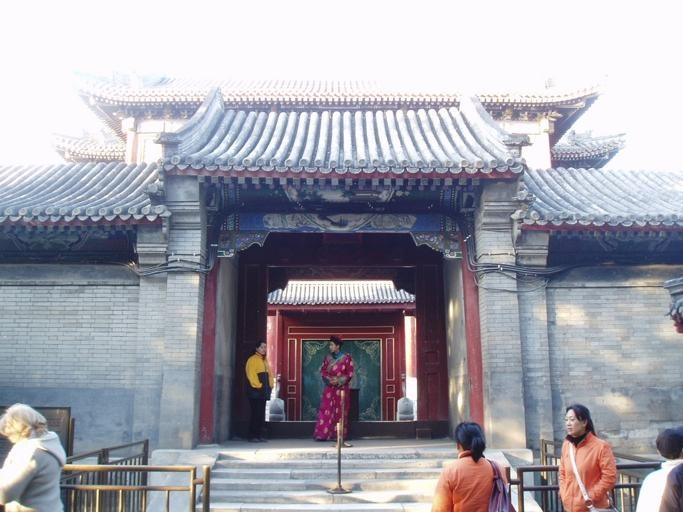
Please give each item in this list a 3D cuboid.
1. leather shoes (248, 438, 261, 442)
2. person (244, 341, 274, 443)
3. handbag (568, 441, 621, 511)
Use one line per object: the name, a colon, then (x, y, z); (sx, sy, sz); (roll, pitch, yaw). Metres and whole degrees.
leather shoes: (-1.590, 3.347, 14.210); (0.211, 0.134, 0.068); (-1, -7, 0)
person: (-1.539, 2.482, 14.413); (0.335, 1.799, 0.551); (-6, -15, 23)
handbag: (2.854, 2.572, 8.954); (0.469, 0.816, 0.218); (-18, -15, 14)
